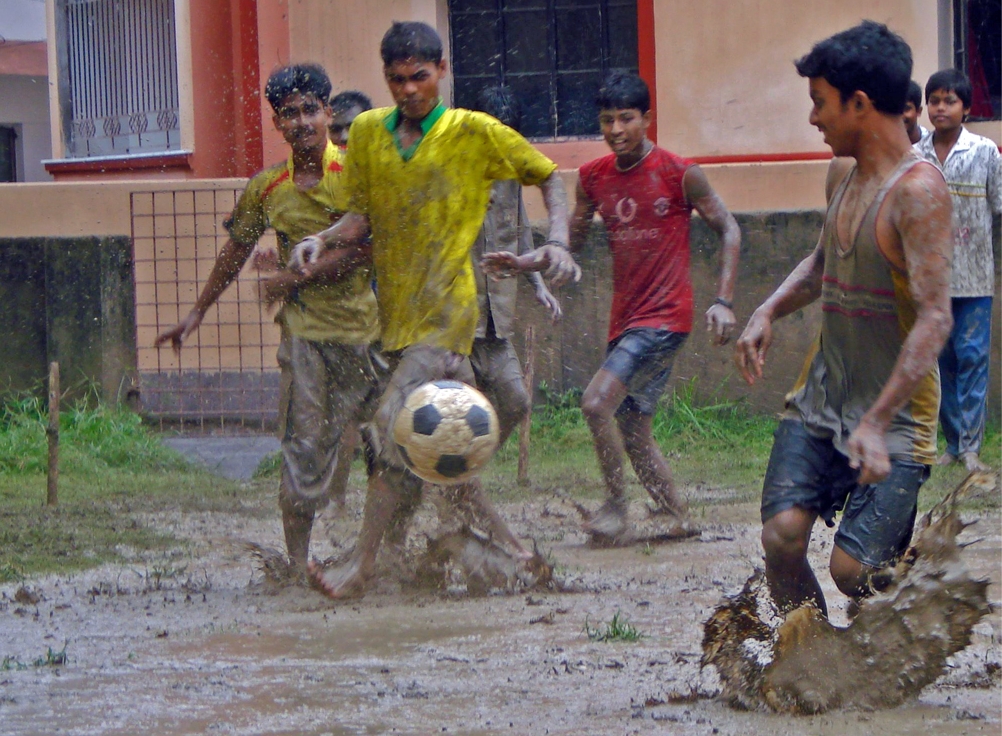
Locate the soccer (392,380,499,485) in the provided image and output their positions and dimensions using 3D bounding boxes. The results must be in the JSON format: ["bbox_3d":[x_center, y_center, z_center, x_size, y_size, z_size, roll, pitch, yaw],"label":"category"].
[{"bbox_3d":[-0.326,0.350,12.221,0.508,0.605,0.529,5,25,-12],"label":"soccer"}]

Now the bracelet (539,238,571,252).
[{"bbox_3d":[0.328,-0.693,12.252,0.130,0.072,0.176,-2,11,-2],"label":"bracelet"}]

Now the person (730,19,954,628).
[{"bbox_3d":[1.807,-0.243,11.188,1.000,2.991,0.865,2,10,19],"label":"person"}]

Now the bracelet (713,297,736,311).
[{"bbox_3d":[1.356,-0.397,13.194,0.080,0.025,0.087,23,4,-17],"label":"bracelet"}]
